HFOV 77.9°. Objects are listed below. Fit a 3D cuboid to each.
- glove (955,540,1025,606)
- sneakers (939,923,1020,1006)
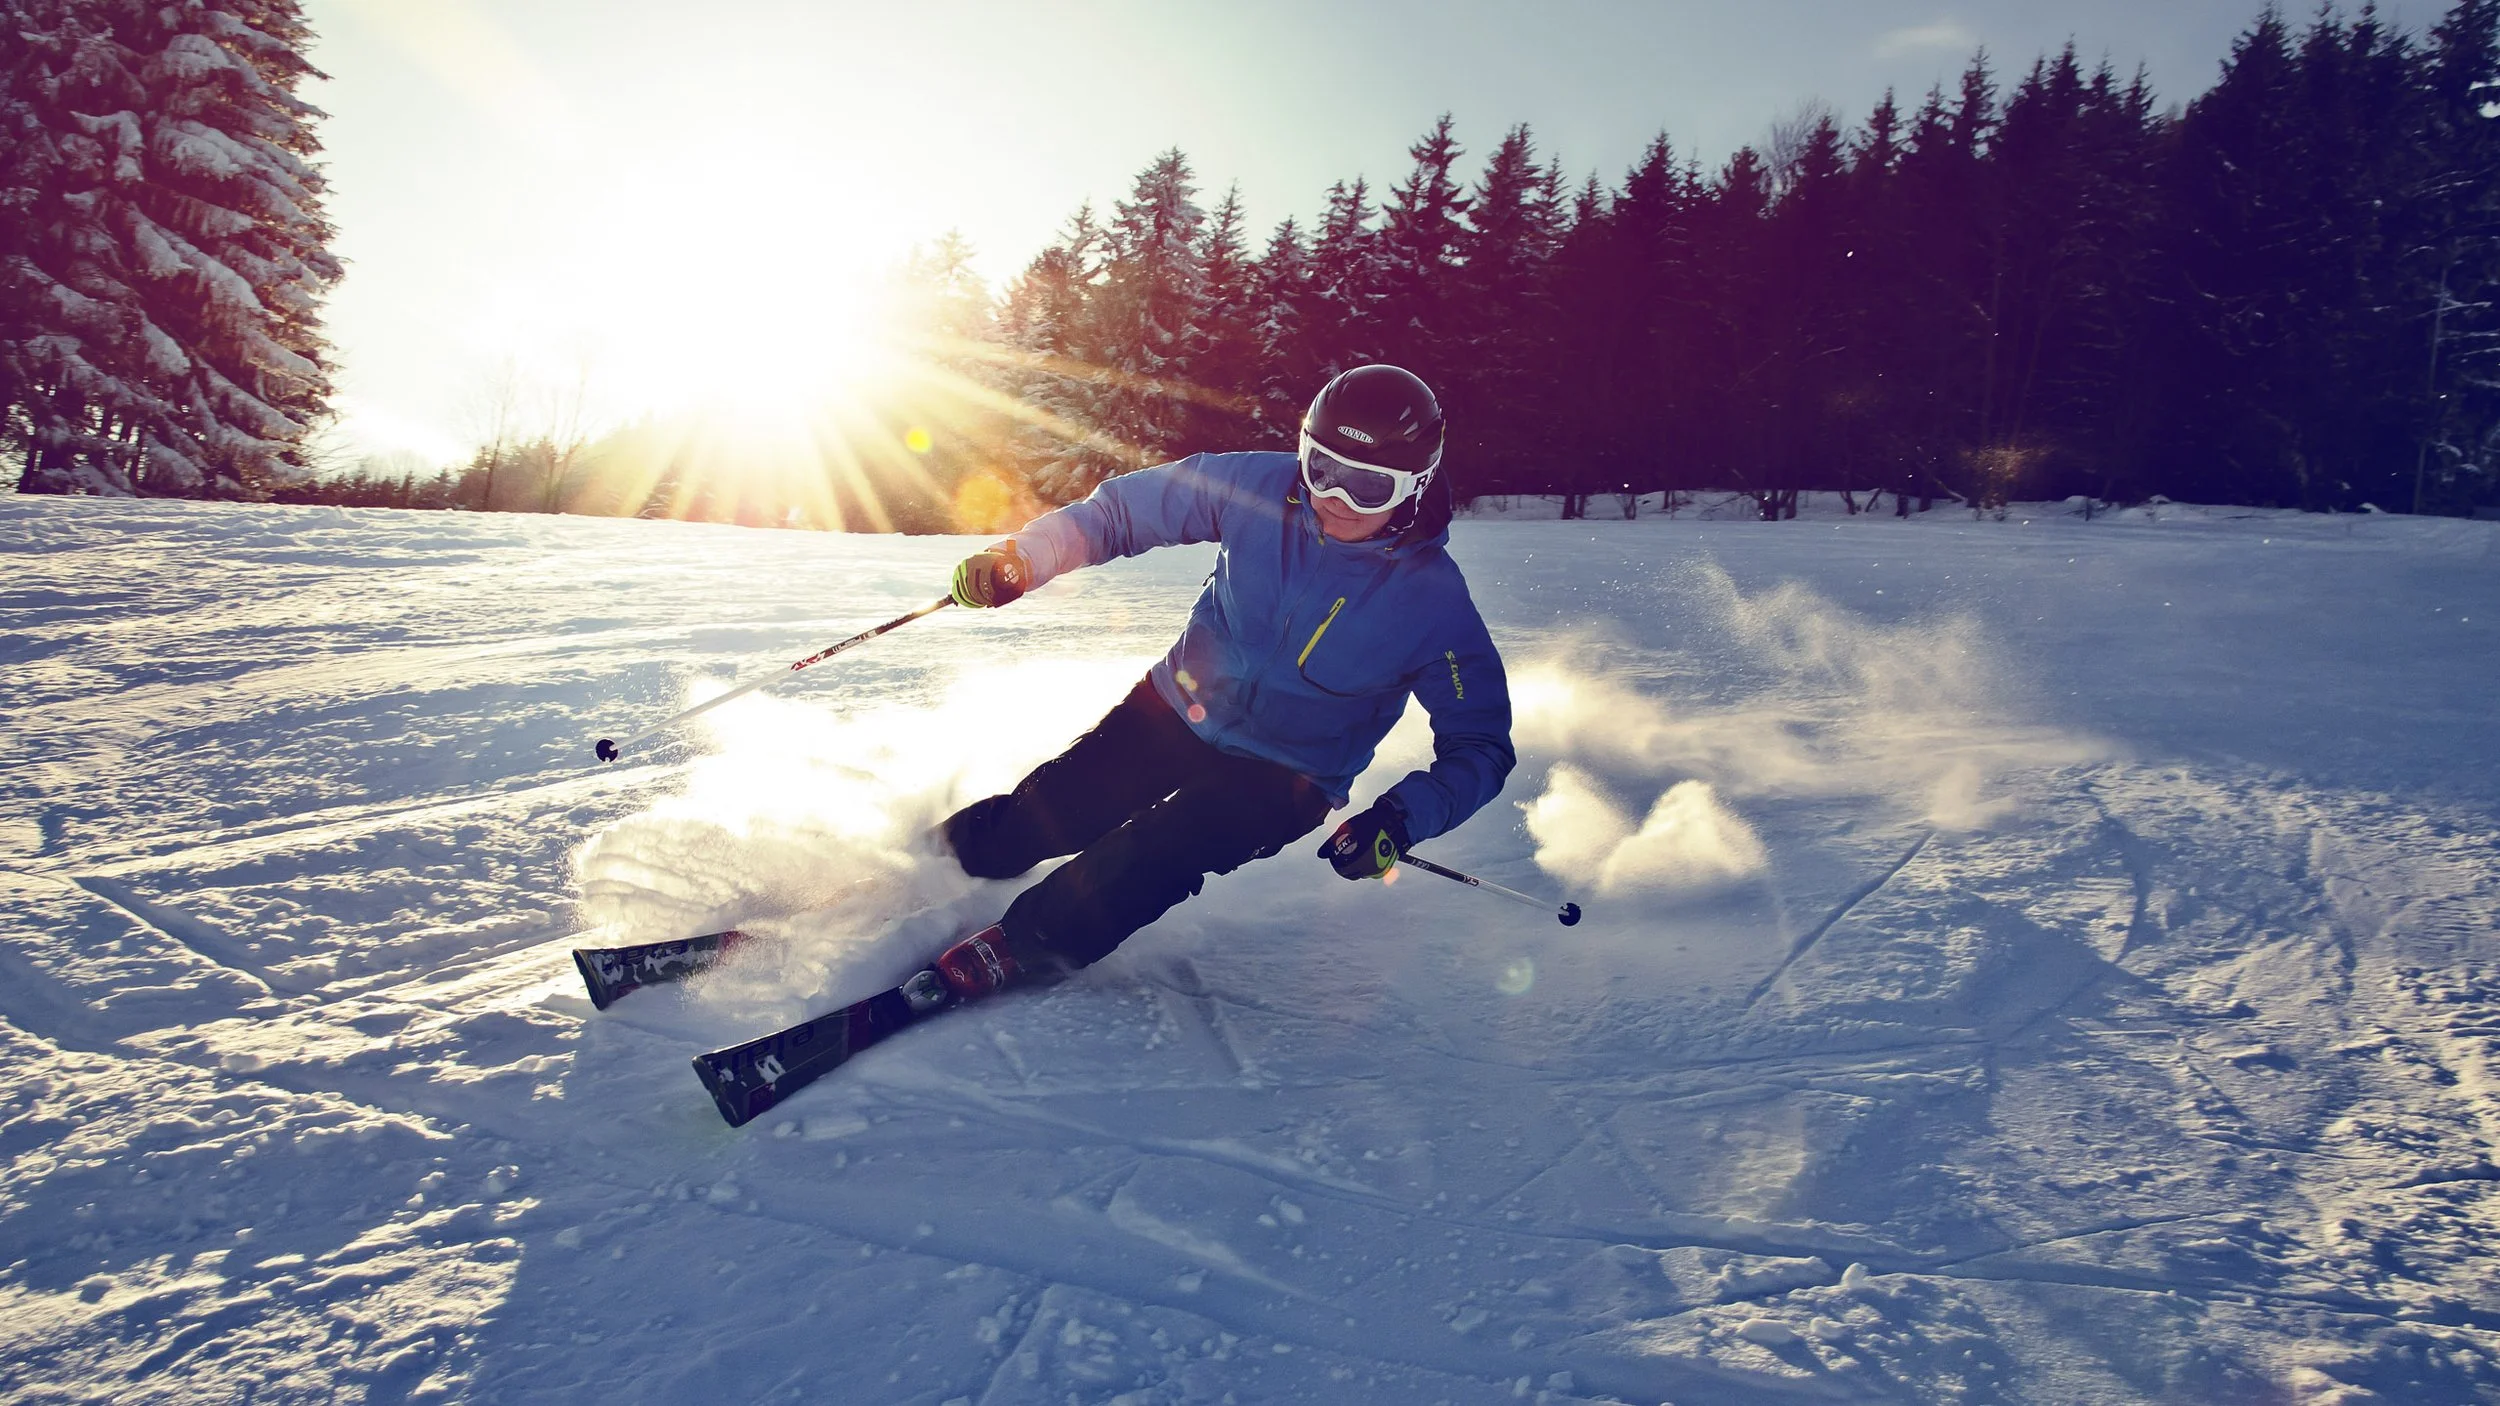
[{"bbox_3d":[-1.422,-0.692,8.566,0.342,0.286,0.345,-23,2,5],"label":"glove"},{"bbox_3d":[-1.377,1.356,7.870,0.341,0.227,0.174,-30,2,-30],"label":"sneakers"}]
